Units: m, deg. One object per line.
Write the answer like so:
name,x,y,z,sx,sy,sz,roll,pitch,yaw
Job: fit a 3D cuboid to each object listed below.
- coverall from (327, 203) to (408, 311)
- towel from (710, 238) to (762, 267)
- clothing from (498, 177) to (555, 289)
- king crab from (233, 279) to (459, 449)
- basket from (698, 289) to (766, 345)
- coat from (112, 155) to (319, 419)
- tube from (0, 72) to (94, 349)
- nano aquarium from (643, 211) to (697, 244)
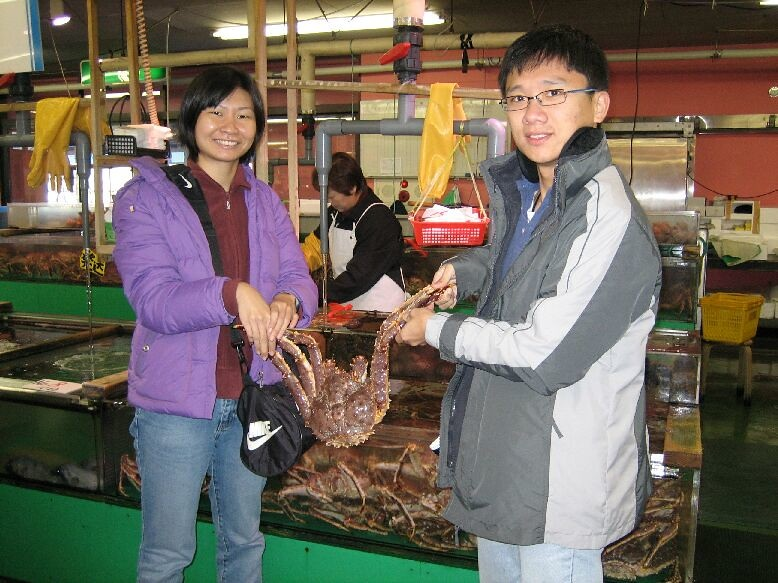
coverall,-0.264,-0.247,4.160,0.610,0.709,0.522,-1,4,-28
towel,3.869,-0.445,7.505,0.515,0.306,0.262,4,6,28
clothing,0.424,-0.186,2.136,0.165,0.301,0.152,18,-10,43
king crab,-0.149,0.320,2.324,0.826,0.359,0.265,-8,32,43
basket,2.982,0.195,5.843,0.397,0.382,0.543,4,9,29
coat,-0.586,-0.021,2.280,0.649,0.862,0.405,-1,6,-24
tube,-2.056,-0.577,4.039,0.473,1.597,1.834,-1,6,-24
nano aquarium,1.630,-0.372,3.832,0.348,0.240,0.207,1,7,12
